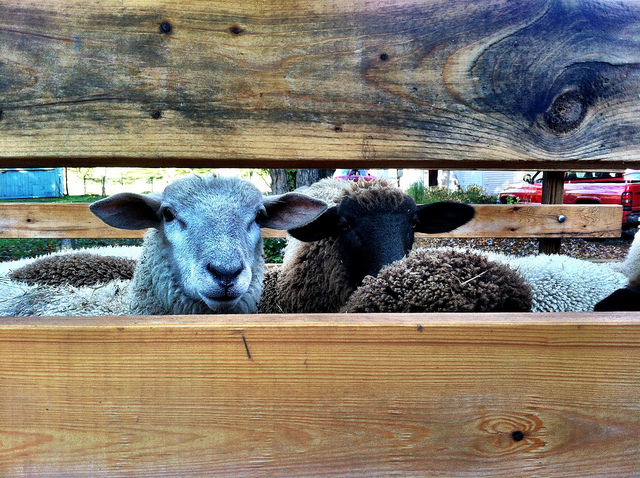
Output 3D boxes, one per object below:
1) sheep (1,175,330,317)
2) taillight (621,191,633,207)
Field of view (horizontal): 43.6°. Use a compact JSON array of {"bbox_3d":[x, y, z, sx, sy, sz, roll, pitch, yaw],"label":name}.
[{"bbox_3d":[-1.095,0.092,4.829,1.098,0.583,2.026,3,-6,-35],"label":"sheep"},{"bbox_3d":[5.440,-0.701,14.273,0.129,0.279,0.336,-1,-4,-2],"label":"taillight"}]
